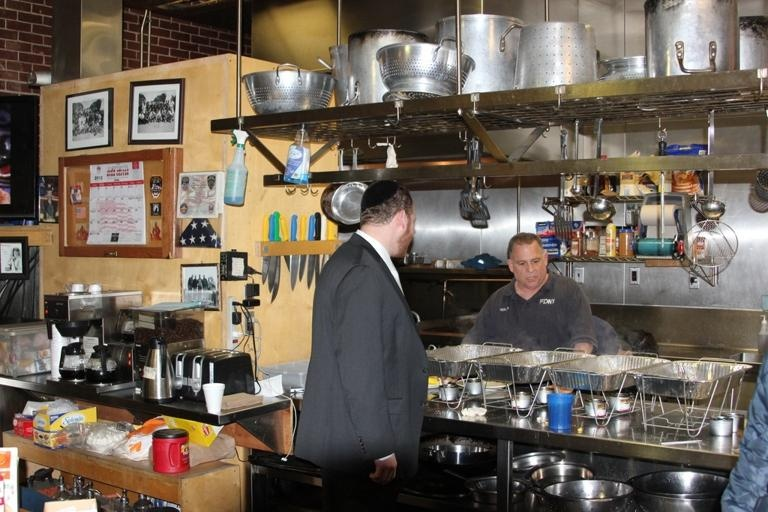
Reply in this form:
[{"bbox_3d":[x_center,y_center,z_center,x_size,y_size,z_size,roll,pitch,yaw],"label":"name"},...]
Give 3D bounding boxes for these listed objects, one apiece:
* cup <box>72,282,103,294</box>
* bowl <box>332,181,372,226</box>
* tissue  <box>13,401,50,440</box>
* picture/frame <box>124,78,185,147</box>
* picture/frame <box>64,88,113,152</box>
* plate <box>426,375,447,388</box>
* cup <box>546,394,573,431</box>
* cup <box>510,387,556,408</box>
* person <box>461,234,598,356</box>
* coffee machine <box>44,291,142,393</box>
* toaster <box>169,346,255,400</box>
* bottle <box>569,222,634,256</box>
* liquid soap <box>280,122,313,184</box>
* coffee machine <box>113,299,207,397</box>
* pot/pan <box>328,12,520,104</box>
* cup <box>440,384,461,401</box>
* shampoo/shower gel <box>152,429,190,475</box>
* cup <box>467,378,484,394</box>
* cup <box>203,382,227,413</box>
[{"bbox_3d":[-1.994,0.218,4.785,0.174,0.061,0.108,-2,0,-8],"label":"cup"},{"bbox_3d":[-0.225,-0.331,4.567,0.271,0.266,0.060,11,3,13],"label":"bowl"},{"bbox_3d":[-2.295,1.076,4.650,0.216,0.205,0.215,12,-1,32],"label":"tissue "},{"bbox_3d":[-1.524,-0.961,4.782,0.502,0.479,0.025,0,-2,23],"label":"picture/frame"},{"bbox_3d":[-2.130,-0.967,5.130,0.497,0.408,0.024,1,1,30],"label":"picture/frame"},{"bbox_3d":[0.319,0.734,4.158,0.098,0.026,0.100,-2,-1,38],"label":"plate"},{"bbox_3d":[0.887,0.776,3.587,0.125,0.185,0.130,-1,1,0],"label":"cup"},{"bbox_3d":[0.802,0.758,3.867,0.226,0.071,0.115,-3,3,-43],"label":"cup"},{"bbox_3d":[0.974,0.232,4.769,0.870,0.768,0.348,0,1,29],"label":"person"},{"bbox_3d":[-1.882,0.525,4.702,0.670,0.632,0.550,-4,-6,38],"label":"coffee machine"},{"bbox_3d":[-1.067,0.730,4.397,0.316,0.266,0.439,1,-4,25],"label":"toaster"},{"bbox_3d":[1.844,-0.112,6.059,0.515,0.337,0.282,-1,-5,32],"label":"bottle"},{"bbox_3d":[-0.527,-0.598,4.245,0.135,0.329,0.108,5,7,34],"label":"liquid soap"},{"bbox_3d":[-1.359,0.549,4.302,0.356,0.609,0.623,-2,1,45],"label":"coffee machine"},{"bbox_3d":[0.183,-1.065,3.938,1.098,0.435,0.336,0,1,29],"label":"pot/pan"},{"bbox_3d":[0.382,0.764,3.991,0.144,0.091,0.075,-1,1,-41],"label":"cup"},{"bbox_3d":[-1.199,1.089,4.052,0.228,0.239,0.227,4,-6,-42],"label":"shampoo/shower gel"},{"bbox_3d":[0.523,0.743,4.071,0.081,0.072,0.080,1,-6,0],"label":"cup"},{"bbox_3d":[-0.962,0.799,4.025,0.146,0.153,0.141,1,-2,0],"label":"cup"}]
